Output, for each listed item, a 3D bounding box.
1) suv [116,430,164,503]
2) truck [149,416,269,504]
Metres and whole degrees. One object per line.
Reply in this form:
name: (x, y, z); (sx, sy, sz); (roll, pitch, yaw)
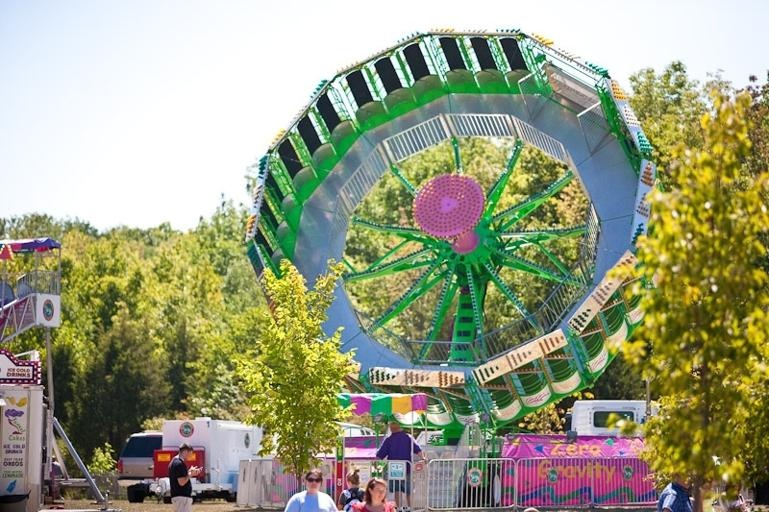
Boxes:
suv: (-9.465, 7.859, 48.324); (1.415, 1.759, 2.787); (0, 0, -2)
truck: (-7.066, 7.393, 47.107); (3.336, 3.326, 5.033); (-6, -17, 22)
